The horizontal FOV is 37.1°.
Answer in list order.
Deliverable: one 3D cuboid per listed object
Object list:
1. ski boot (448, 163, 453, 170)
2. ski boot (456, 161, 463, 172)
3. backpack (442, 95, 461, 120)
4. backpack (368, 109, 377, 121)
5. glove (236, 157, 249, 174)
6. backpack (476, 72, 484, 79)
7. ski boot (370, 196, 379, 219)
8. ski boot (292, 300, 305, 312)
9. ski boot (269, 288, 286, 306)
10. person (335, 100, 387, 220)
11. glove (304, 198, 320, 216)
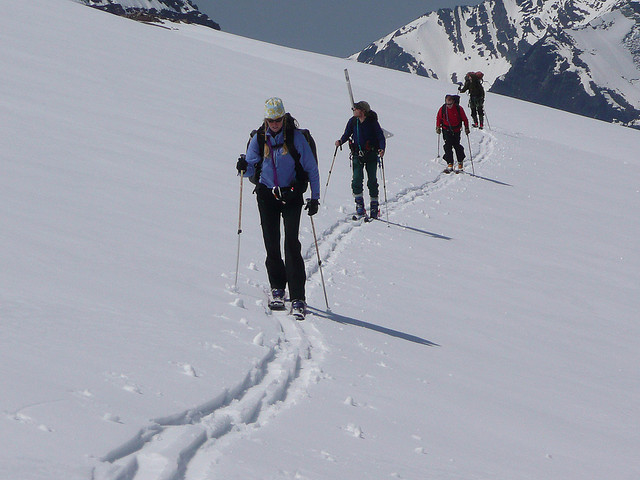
[{"bbox_3d":[3.635,-2.030,26.620,0.143,0.157,0.144,5,5,27],"label":"ski boot"},{"bbox_3d":[3.909,-2.062,26.742,0.227,0.339,0.219,-1,41,4],"label":"ski boot"},{"bbox_3d":[3.514,-3.678,25.923,0.599,0.599,0.405,-1,1,-11],"label":"backpack"},{"bbox_3d":[1.186,-2.757,21.252,0.202,0.213,0.302,17,27,14],"label":"backpack"},{"bbox_3d":[-1.300,-1.243,16.040,0.222,0.229,0.165,-5,-9,3],"label":"glove"},{"bbox_3d":[6.015,-6.181,35.933,0.242,0.293,0.255,-8,9,5],"label":"backpack"},{"bbox_3d":[1.246,-0.736,21.983,0.214,0.392,0.438,8,26,-3],"label":"ski boot"},{"bbox_3d":[-0.369,1.108,16.088,0.196,0.123,0.187,8,27,-3],"label":"ski boot"},{"bbox_3d":[-0.726,0.986,16.392,0.215,0.276,0.635,0,-8,-3],"label":"ski boot"},{"bbox_3d":[0.984,-1.788,21.565,1.105,2.547,0.590,12,26,5],"label":"person"},{"bbox_3d":[-0.116,-0.553,16.287,0.261,0.260,0.115,15,9,13],"label":"glove"}]
